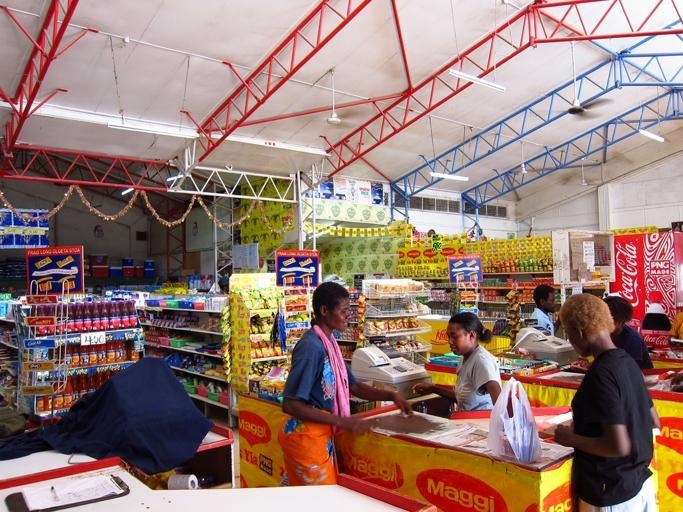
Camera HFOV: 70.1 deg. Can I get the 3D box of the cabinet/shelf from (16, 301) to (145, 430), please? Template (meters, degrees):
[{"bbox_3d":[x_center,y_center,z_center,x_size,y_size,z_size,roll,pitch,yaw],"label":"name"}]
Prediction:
[{"bbox_3d":[-2.288,0.943,4.181,0.602,1.007,1.069,-3,-3,39],"label":"cabinet/shelf"}]

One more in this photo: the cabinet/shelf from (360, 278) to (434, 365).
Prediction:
[{"bbox_3d":[0.797,1.068,8.095,1.114,1.424,0.815,-2,6,-28],"label":"cabinet/shelf"}]

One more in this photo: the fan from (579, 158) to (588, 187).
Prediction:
[{"bbox_3d":[9.778,-3.273,19.591,0.216,0.894,1.157,-4,-3,27],"label":"fan"}]

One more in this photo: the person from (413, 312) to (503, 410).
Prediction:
[{"bbox_3d":[1.084,0.789,3.687,0.438,0.711,0.418,0,-4,-43],"label":"person"}]

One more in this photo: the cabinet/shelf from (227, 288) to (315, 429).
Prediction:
[{"bbox_3d":[-0.777,1.177,6.771,1.456,1.332,0.506,10,-14,-43],"label":"cabinet/shelf"}]

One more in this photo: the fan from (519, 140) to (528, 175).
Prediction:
[{"bbox_3d":[6.871,-3.477,18.331,0.268,0.874,3.235,-4,-3,21],"label":"fan"}]

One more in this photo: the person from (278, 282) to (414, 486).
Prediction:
[{"bbox_3d":[-0.025,0.796,3.049,0.725,1.259,0.556,0,-3,-37],"label":"person"}]
